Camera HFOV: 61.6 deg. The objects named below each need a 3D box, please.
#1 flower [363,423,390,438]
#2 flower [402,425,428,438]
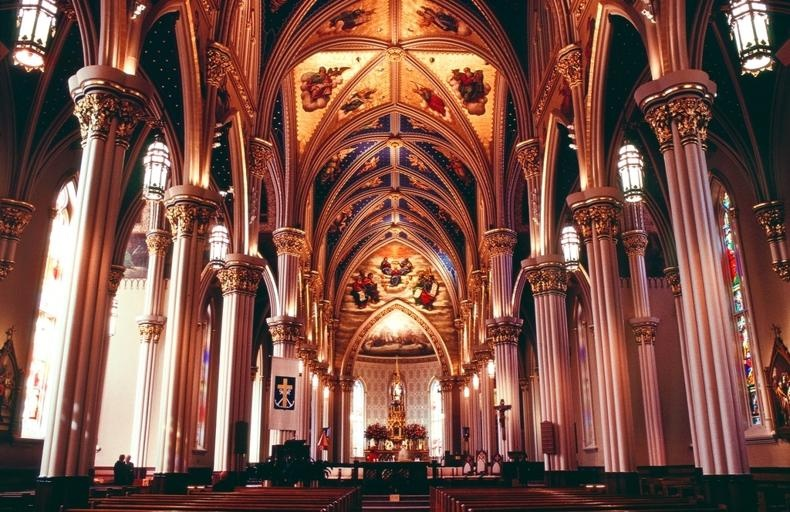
[{"bbox_3d":[-1.029,10.055,37.957,0.937,0.857,0.965,-6,-6,16],"label":"flower"},{"bbox_3d":[1.152,10.621,40.119,1.128,0.797,1.123,4,-9,-32],"label":"flower"}]
